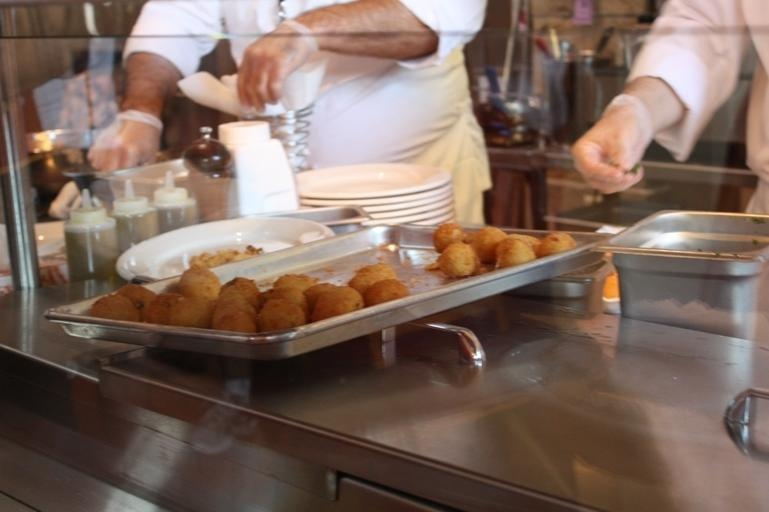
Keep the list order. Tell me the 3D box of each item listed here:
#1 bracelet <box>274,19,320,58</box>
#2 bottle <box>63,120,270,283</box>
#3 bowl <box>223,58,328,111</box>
[{"bbox_3d":[-0.098,-0.259,0.711,0.049,0.045,0.047,-24,44,-36],"label":"bracelet"},{"bbox_3d":[-0.276,-0.102,0.902,0.284,0.227,0.147,-12,15,-10],"label":"bottle"},{"bbox_3d":[-0.106,-0.216,0.768,0.076,0.064,0.051,5,22,15],"label":"bowl"}]
